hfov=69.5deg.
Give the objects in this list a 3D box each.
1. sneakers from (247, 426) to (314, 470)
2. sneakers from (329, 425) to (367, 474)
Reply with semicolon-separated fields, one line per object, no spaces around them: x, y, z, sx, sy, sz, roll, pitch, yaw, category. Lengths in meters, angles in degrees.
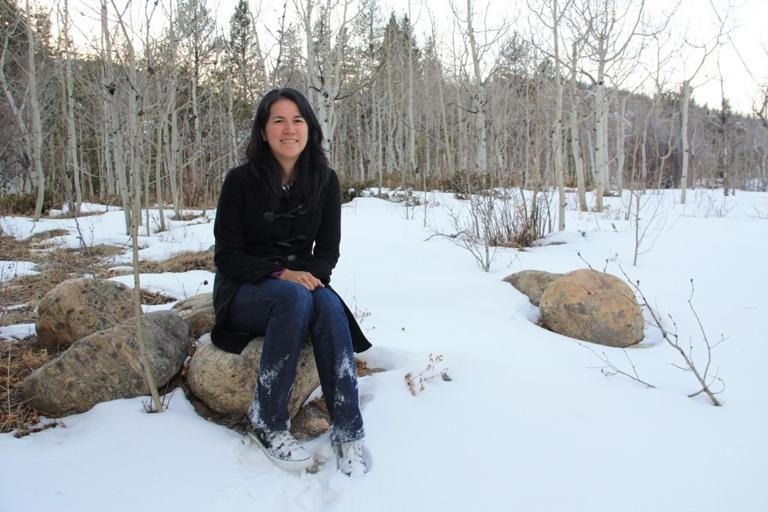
-0.916;1.715;5.096;0.603;0.274;0.250;24;12;14;sneakers
-0.343;1.819;5.199;0.195;0.211;0.451;-6;6;-20;sneakers
